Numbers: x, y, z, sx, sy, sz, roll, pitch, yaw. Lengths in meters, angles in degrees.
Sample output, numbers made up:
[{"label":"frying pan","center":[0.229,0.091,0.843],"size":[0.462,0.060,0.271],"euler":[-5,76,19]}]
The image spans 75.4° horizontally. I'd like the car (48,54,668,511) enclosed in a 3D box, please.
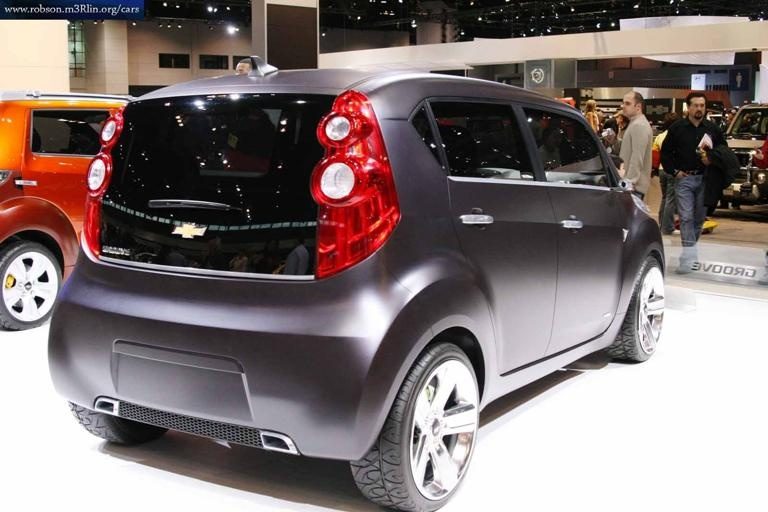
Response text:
[{"label":"car","center":[0.062,0.076,2.776],"size":[3.251,2.159,1.266],"euler":[-6,11,-34]}]
